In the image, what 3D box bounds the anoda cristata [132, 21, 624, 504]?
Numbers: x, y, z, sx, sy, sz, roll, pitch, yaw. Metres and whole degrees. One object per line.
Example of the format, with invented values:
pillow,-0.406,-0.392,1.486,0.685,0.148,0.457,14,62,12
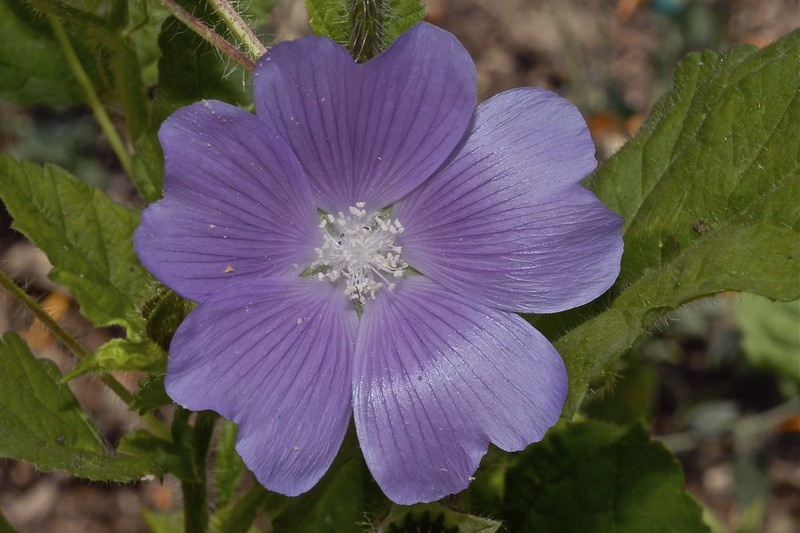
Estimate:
anoda cristata,-0.103,-0.025,3.103,1.763,1.870,0.546,-6,13,-33
